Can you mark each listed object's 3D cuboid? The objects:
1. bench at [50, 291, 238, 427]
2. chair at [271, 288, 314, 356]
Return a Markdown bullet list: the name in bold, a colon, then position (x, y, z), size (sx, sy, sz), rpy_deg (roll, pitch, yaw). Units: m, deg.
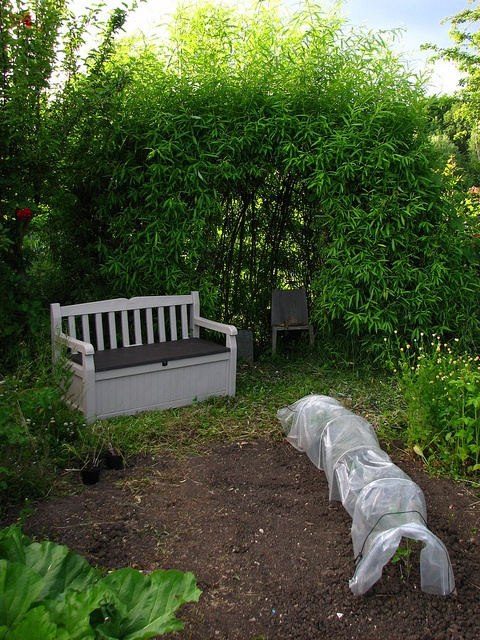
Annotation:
- **bench**: position (-0.728, 0.213, 3.474), size (1.286, 0.785, 1.065), rpy_deg (-5, 10, -28)
- **chair**: position (0.523, 0.021, 4.628), size (0.419, 0.636, 0.205), rpy_deg (0, 9, 3)
